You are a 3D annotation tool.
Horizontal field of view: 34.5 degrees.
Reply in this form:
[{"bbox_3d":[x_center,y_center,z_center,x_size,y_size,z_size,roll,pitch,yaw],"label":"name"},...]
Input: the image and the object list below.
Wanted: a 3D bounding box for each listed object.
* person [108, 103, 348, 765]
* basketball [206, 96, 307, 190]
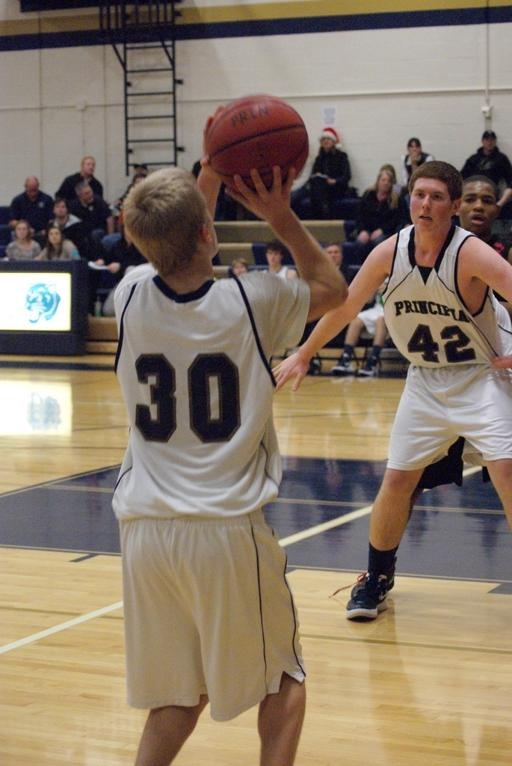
[{"bbox_3d":[-0.052,0.130,1.344,0.393,0.941,0.293,0,8,5],"label":"person"},{"bbox_3d":[0.033,-0.388,1.457,0.197,0.173,0.174,-8,7,5],"label":"basketball"}]
